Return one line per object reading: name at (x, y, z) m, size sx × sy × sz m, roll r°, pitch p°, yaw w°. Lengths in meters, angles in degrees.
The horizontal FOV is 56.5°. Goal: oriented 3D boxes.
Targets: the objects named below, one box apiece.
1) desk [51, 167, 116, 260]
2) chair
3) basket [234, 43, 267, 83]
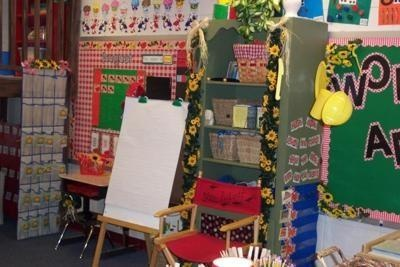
desk at (-1.753, 1.212, 5.975) m, size 1.126 × 1.408 × 1.064 m, roll 6°, pitch 5°, yaw 36°
chair at (0.094, 0.971, 4.255) m, size 1.129 × 1.473 × 1.027 m, roll 1°, pitch -3°, yaw 34°
basket at (0.618, -0.779, 4.384) m, size 0.390 × 0.433 × 0.516 m, roll 1°, pitch 8°, yaw 11°
